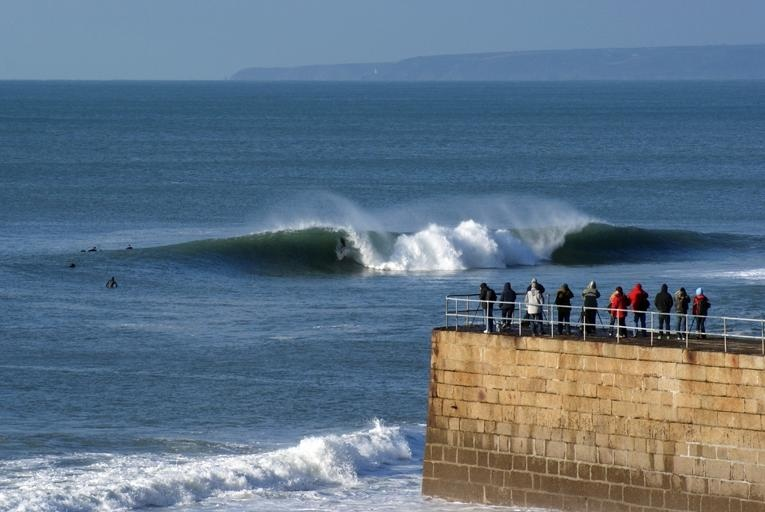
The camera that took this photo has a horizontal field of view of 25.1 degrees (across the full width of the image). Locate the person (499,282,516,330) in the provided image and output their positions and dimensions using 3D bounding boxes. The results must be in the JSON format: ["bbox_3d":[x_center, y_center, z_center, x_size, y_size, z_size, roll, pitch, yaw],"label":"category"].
[{"bbox_3d":[4.260,1.737,59.248,0.522,1.551,1.145,0,-3,3],"label":"person"}]

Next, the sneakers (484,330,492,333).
[{"bbox_3d":[3.527,2.576,58.645,0.253,0.127,0.237,0,-2,3],"label":"sneakers"}]

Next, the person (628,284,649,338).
[{"bbox_3d":[8.725,1.849,58.906,0.732,1.802,1.497,0,-3,9],"label":"person"}]

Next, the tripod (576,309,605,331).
[{"bbox_3d":[7.178,2.304,59.420,1.061,1.168,1.008,1,2,4],"label":"tripod"}]

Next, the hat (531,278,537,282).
[{"bbox_3d":[5.215,0.866,59.399,0.190,0.157,0.188,6,8,42],"label":"hat"}]

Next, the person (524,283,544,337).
[{"bbox_3d":[5.198,1.762,58.781,0.603,1.865,0.790,1,-3,-17],"label":"person"}]

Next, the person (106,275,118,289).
[{"bbox_3d":[-12.671,1.255,80.729,0.564,0.601,1.560,1,-3,-10],"label":"person"}]

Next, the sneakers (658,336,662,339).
[{"bbox_3d":[9.332,2.763,58.174,0.114,0.110,0.312,-1,0,11],"label":"sneakers"}]
